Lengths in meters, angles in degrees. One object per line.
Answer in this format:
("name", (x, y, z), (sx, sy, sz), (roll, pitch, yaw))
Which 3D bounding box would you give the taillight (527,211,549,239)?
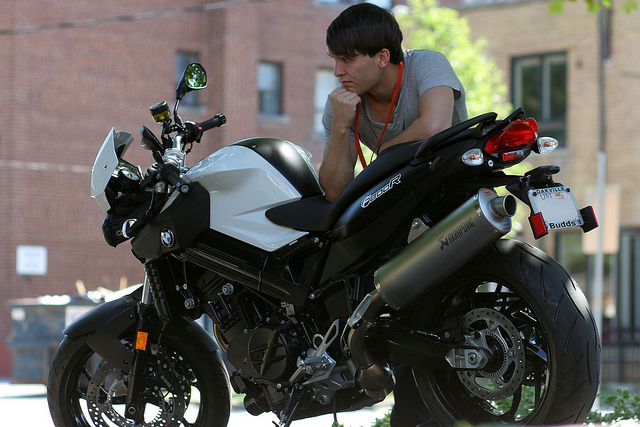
("taillight", (1.888, 0.086, 8.459), (0.157, 0.224, 0.153), (-1, -3, 12))

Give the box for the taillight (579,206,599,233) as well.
("taillight", (2.342, 0.033, 8.526), (0.142, 0.215, 0.210), (-1, -3, 15))
